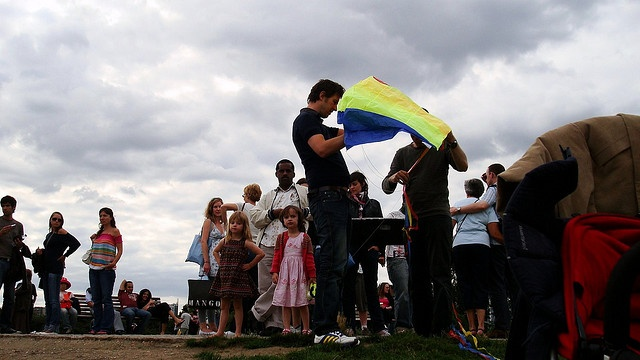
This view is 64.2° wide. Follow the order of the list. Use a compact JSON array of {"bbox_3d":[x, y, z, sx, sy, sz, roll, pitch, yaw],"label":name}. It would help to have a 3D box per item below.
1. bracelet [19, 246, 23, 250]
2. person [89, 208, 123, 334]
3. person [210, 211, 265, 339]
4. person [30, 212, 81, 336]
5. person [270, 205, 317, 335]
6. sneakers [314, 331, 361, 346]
[{"bbox_3d":[-6.037,1.373,10.292,0.065,0.058,0.059,1,-8,-10],"label":"bracelet"},{"bbox_3d":[-4.110,1.722,9.677,0.549,2.306,0.620,7,-20,-22],"label":"person"},{"bbox_3d":[-1.344,1.495,8.276,0.799,1.981,0.376,2,-19,-11],"label":"person"},{"bbox_3d":[-5.316,1.835,10.160,0.762,2.346,0.857,11,-22,-31],"label":"person"},{"bbox_3d":[-0.408,1.363,7.893,0.696,1.928,0.522,-3,-19,4],"label":"person"},{"bbox_3d":[0.229,2.088,6.688,0.592,0.213,0.207,-2,-20,8],"label":"sneakers"}]
